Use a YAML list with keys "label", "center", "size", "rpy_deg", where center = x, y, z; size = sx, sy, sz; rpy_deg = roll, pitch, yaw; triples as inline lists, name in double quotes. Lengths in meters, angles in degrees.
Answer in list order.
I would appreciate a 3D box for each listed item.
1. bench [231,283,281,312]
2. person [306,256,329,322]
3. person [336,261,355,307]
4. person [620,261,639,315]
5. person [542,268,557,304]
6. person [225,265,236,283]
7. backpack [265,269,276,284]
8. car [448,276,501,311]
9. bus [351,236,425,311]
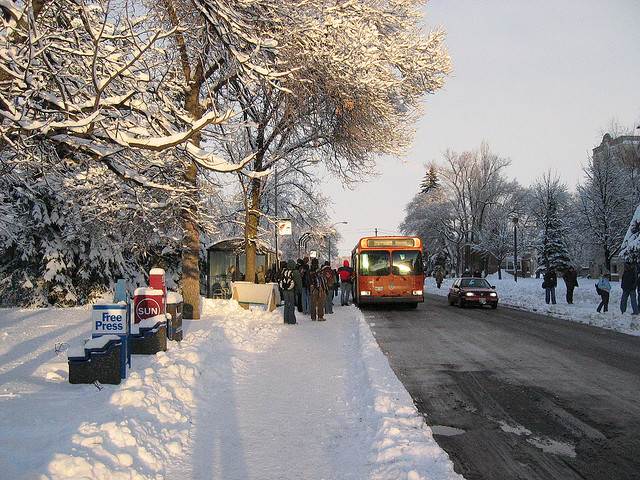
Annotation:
- label: "bench"
  center: [-2.501, 2.154, 21.969]
  size: [1.615, 1.000, 0.796]
  rpy_deg: [1, 0, 10]
- label: "person"
  center: [-0.077, 1.769, 20.513]
  size: [0.736, 2.169, 1.460]
  rpy_deg: [1, 0, -1]
- label: "person"
  center: [1.152, 1.835, 25.691]
  size: [0.848, 2.173, 0.613]
  rpy_deg: [2, 20, 0]
- label: "person"
  center: [12.322, 1.975, 22.957]
  size: [0.604, 1.567, 2.812]
  rpy_deg: [1, 0, 28]
- label: "person"
  center: [11.242, 2.275, 28.330]
  size: [0.539, 1.237, 1.665]
  rpy_deg: [1, 0, 21]
- label: "person"
  center: [-4.385, 1.678, 28.215]
  size: [0.401, 0.781, 1.787]
  rpy_deg: [1, 0, -10]
- label: "backpack"
  center: [-2.248, 1.601, 26.126]
  size: [0.257, 0.552, 0.810]
  rpy_deg: [1, 0, -30]
- label: "car"
  center: [6.938, 2.518, 26.923]
  size: [1.131, 1.008, 2.768]
  rpy_deg: [-1, -7, -2]
- label: "bus"
  center: [3.005, 1.261, 24.419]
  size: [2.615, 2.754, 1.137]
  rpy_deg: [1, 1, 17]
